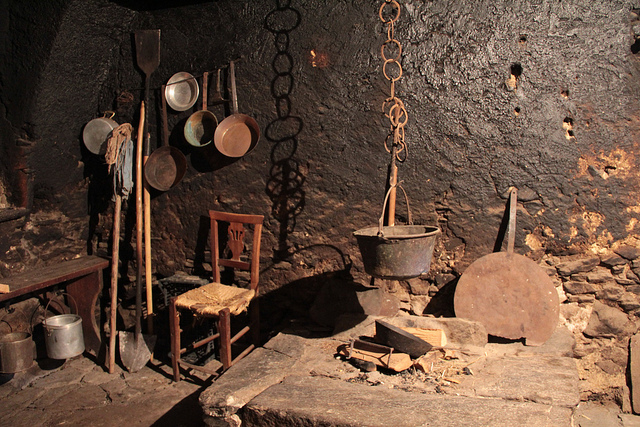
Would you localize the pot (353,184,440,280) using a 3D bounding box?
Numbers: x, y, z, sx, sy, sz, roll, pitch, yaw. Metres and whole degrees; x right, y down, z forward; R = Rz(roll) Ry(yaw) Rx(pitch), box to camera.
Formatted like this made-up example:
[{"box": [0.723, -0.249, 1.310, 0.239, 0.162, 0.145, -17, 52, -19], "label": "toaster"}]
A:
[{"box": [0.617, 0.092, 4.453, 0.687, 0.779, 0.732, 0, 1, 0], "label": "pot"}]

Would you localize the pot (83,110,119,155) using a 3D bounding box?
[{"box": [-2.032, -0.738, 5.349, 0.289, 0.354, 0.116, 23, -1, 2], "label": "pot"}]

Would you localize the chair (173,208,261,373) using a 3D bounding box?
[{"box": [-0.957, 0.687, 5.010, 0.843, 1.452, 0.695, 6, 7, 7], "label": "chair"}]

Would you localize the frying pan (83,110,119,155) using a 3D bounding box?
[{"box": [-2.016, -0.743, 5.336, 0.248, 0.377, 0.246, -25, -55, 35], "label": "frying pan"}]

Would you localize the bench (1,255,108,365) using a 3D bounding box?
[{"box": [-2.410, 0.864, 5.155, 0.333, 0.713, 0.844, 12, 18, 38], "label": "bench"}]

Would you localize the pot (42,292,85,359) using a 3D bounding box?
[{"box": [-2.266, 0.990, 5.089, 0.306, 0.480, 0.351, 7, 12, 41], "label": "pot"}]

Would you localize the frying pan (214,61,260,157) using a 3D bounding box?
[{"box": [-0.710, -0.904, 5.014, 0.383, 0.819, 0.123, 4, 8, -9], "label": "frying pan"}]

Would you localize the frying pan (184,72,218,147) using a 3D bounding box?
[{"box": [-1.061, -0.896, 5.097, 0.297, 0.659, 0.092, 6, 11, 13], "label": "frying pan"}]

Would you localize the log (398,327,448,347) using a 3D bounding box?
[{"box": [0.832, 0.948, 4.603, 0.296, 0.079, 0.147, 18, 52, 12], "label": "log"}]

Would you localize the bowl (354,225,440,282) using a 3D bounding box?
[{"box": [0.582, 0.290, 4.387, 0.631, 0.361, 0.641, -2, 7, 0], "label": "bowl"}]

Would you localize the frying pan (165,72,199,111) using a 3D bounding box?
[{"box": [-1.244, -1.088, 5.165, 0.329, 0.325, 0.074, 3, 11, 9], "label": "frying pan"}]

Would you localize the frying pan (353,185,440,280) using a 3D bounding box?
[{"box": [0.564, 0.120, 4.339, 0.637, 0.694, 0.616, 5, 11, 40], "label": "frying pan"}]

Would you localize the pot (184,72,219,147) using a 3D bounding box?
[{"box": [-1.046, -0.918, 5.092, 0.304, 0.646, 0.105, 9, 9, 28], "label": "pot"}]
